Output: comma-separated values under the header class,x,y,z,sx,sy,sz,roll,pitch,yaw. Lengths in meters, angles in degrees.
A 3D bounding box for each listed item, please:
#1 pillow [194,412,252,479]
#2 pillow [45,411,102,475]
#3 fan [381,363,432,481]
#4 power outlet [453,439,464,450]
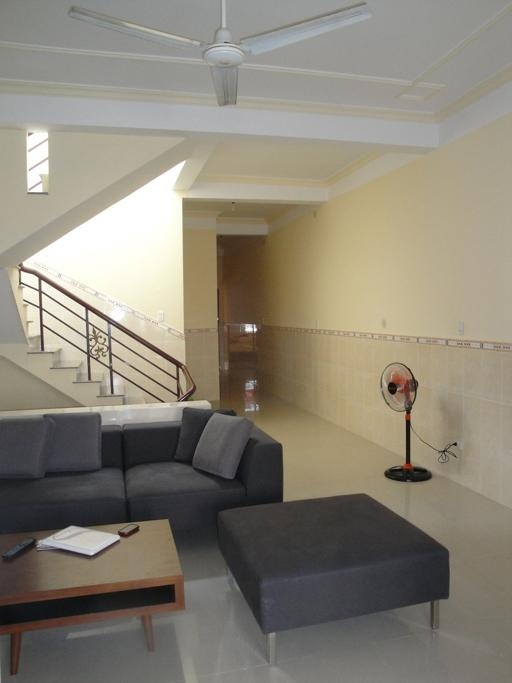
class,x,y,z,sx,sy,sz,roll,pitch,yaw
pillow,-0.158,0.729,3.762,0.122,0.382,0.410,34,-25,-32
pillow,-1.230,0.690,3.803,0.374,0.368,0.163,2,-4,-21
fan,1.314,0.669,4.884,0.414,0.979,0.595,0,3,17
power outlet,1.663,0.851,4.598,0.059,0.080,0.095,4,-2,-5
